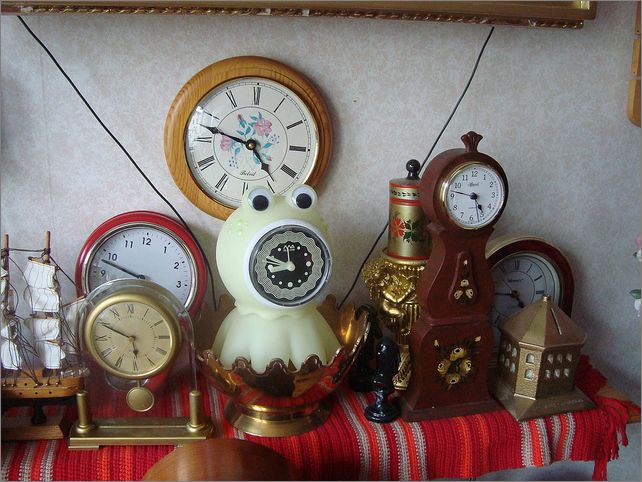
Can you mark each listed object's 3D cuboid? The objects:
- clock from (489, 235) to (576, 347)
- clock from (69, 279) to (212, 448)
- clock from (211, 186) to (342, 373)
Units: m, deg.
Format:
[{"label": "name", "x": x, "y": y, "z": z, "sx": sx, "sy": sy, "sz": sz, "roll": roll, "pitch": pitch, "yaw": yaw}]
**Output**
[{"label": "clock", "x": 0.578, "y": 0.157, "z": 1.867, "sx": 0.271, "sy": 0.371, "sz": 0.094, "roll": -4, "pitch": 20, "yaw": 5}, {"label": "clock", "x": -0.448, "y": 0.307, "z": 1.533, "sx": 0.319, "sy": 0.423, "sz": 0.136, "roll": -1, "pitch": 5, "yaw": -8}, {"label": "clock", "x": -0.108, "y": 0.087, "z": 1.711, "sx": 0.397, "sy": 0.578, "sz": 0.365, "roll": -3, "pitch": 4, "yaw": -33}]
